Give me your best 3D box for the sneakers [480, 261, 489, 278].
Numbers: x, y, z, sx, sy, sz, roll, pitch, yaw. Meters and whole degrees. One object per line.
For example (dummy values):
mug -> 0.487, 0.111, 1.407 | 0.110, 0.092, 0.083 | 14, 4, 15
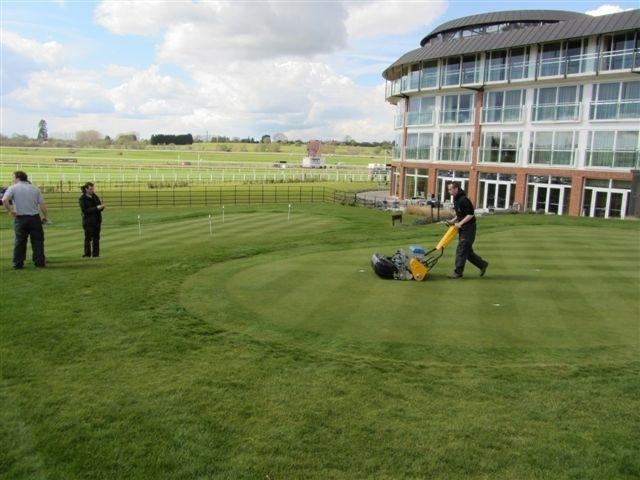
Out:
sneakers -> 4.262, 0.709, 12.959 | 0.246, 0.452, 0.174 | -5, 16, 3

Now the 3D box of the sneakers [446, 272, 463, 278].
sneakers -> 3.481, 0.895, 12.930 | 0.394, 0.225, 0.145 | 4, 2, 17

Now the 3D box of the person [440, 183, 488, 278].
person -> 3.795, -0.271, 12.886 | 1.059, 2.431, 0.996 | 7, 15, 27
